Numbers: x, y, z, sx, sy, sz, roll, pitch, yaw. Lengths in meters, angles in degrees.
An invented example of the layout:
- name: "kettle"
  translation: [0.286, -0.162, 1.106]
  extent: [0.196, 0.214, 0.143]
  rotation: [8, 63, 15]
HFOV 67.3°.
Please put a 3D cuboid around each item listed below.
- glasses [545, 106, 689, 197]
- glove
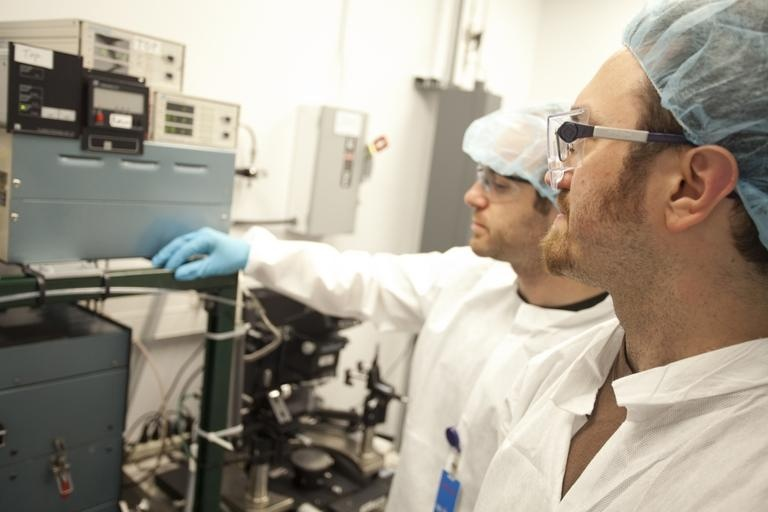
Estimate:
- name: "glasses"
  translation: [0.491, -0.238, 1.325]
  extent: [0.197, 0.104, 0.160]
  rotation: [13, 9, 17]
- name: "glove"
  translation: [-0.638, -0.003, 2.008]
  extent: [0.276, 0.163, 0.085]
  rotation: [-16, -19, -15]
